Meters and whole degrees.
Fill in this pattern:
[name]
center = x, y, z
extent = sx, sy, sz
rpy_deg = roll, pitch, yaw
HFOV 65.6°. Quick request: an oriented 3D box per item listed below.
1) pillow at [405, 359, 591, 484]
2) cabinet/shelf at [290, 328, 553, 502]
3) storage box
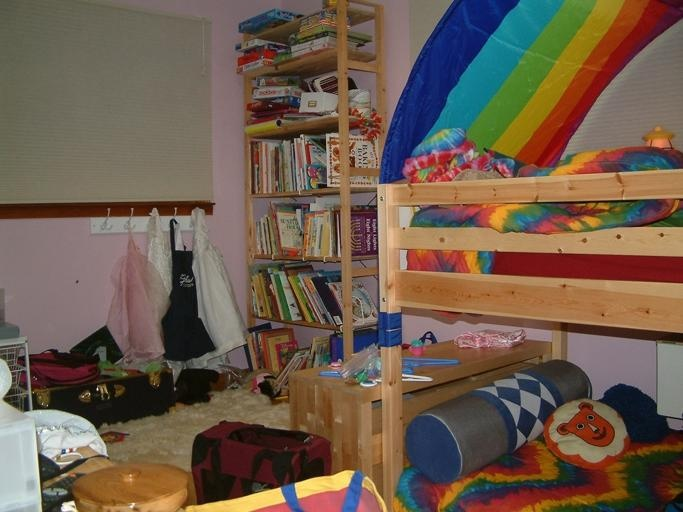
[pillow]
center = 0.734, 0.672, 2.314
extent = 0.984, 0.290, 0.297
rpy_deg = -10, 13, -38
[cabinet/shelf]
center = 0.255, 0.749, 2.597
extent = 0.392, 0.558, 1.042
rpy_deg = 8, 9, 38
[storage box]
center = -1.588, 0.887, 3.340
extent = 0.896, 0.301, 0.668
rpy_deg = -2, -4, -41
